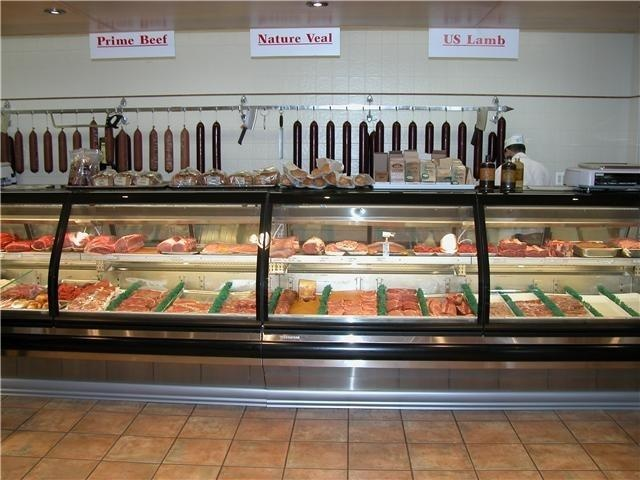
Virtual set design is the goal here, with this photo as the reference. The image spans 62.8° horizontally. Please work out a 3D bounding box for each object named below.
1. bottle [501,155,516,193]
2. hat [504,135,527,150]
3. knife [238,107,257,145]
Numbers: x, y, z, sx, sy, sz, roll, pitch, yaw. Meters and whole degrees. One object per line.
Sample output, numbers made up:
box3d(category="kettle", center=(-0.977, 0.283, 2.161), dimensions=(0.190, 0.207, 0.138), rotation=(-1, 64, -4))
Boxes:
box3d(category="bottle", center=(1.733, -0.587, 4.800), dimensions=(0.144, 0.260, 0.490), rotation=(3, 11, 20))
box3d(category="hat", center=(2.283, -1.147, 6.092), dimensions=(0.227, 0.106, 0.242), rotation=(-2, 2, -2))
box3d(category="knife", center=(-0.688, -1.173, 5.407), dimensions=(0.229, 0.343, 0.114), rotation=(26, 12, 37))
